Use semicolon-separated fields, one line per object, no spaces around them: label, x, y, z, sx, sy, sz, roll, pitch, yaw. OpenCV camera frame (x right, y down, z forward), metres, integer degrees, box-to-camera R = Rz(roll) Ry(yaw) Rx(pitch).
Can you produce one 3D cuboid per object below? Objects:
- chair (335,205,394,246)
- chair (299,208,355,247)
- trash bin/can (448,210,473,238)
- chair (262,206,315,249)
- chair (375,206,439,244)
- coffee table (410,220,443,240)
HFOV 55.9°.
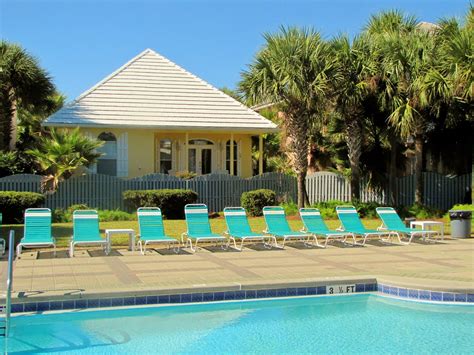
chair;3.955;1.589;14.363;0.992;1.078;1.911;0;2;-25
chair;2.715;1.588;14.034;0.959;1.012;1.799;0;0;-21
trash bin/can;7.755;1.667;15.692;0.851;0.950;0.823;-4;-4;38
chair;1.494;1.529;13.744;1.003;1.137;1.624;0;-1;-24
chair;5.518;1.579;14.993;1.051;1.119;2.079;0;0;-24
coffee table;6.578;1.707;15.465;0.860;0.719;0.909;2;-4;-10
